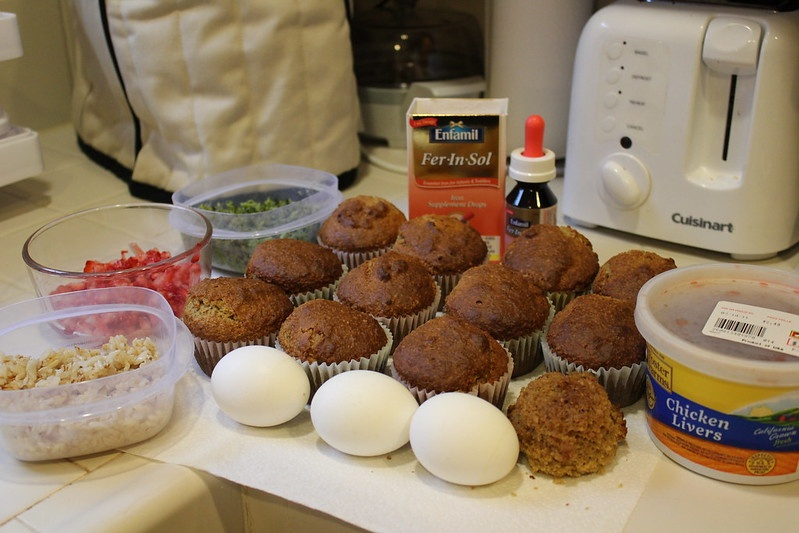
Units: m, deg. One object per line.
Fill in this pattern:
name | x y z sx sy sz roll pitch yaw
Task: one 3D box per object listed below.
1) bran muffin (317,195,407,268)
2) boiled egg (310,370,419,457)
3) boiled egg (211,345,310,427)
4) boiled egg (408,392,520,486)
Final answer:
bran muffin | -0.053 -0.051 1.168 0.149 0.146 0.153 -5 25 11
boiled egg | -0.040 0.197 0.830 0.124 0.098 0.094 -1 57 0
boiled egg | -0.193 0.167 0.916 0.146 0.118 0.114 4 10 -11
boiled egg | 0.083 0.224 0.849 0.149 0.123 0.116 4 5 18
